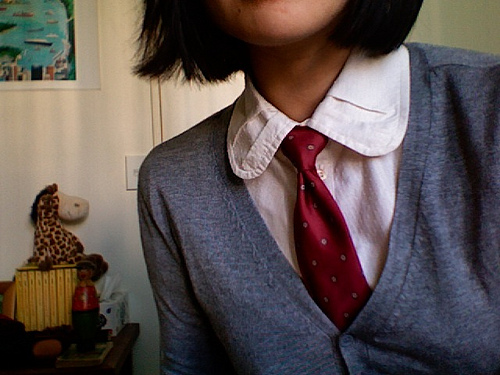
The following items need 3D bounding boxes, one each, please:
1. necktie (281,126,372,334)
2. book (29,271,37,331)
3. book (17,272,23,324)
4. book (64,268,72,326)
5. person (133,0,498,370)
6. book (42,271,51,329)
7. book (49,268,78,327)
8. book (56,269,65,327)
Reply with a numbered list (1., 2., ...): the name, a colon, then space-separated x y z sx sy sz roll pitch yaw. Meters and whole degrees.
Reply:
1. necktie: 0.127 0.081 0.869 0.107 0.371 0.041 -17 -13 14
2. book: -0.798 0.416 1.897 0.031 0.310 0.031 -11 38 -36
3. book: -0.838 0.402 1.880 0.022 0.172 0.051 -4 13 -19
4. book: -0.667 0.399 1.896 0.021 0.204 0.042 0 1 5
5. person: 0.106 0.032 0.951 0.681 0.714 0.271 8 15 28
6. book: -0.741 0.409 1.878 0.027 0.200 0.045 -4 13 -19
7. book: -0.677 0.405 1.867 0.100 0.211 0.076 -1 13 -9
8. book: -0.699 0.402 1.889 0.021 0.201 0.039 5 -14 -44
